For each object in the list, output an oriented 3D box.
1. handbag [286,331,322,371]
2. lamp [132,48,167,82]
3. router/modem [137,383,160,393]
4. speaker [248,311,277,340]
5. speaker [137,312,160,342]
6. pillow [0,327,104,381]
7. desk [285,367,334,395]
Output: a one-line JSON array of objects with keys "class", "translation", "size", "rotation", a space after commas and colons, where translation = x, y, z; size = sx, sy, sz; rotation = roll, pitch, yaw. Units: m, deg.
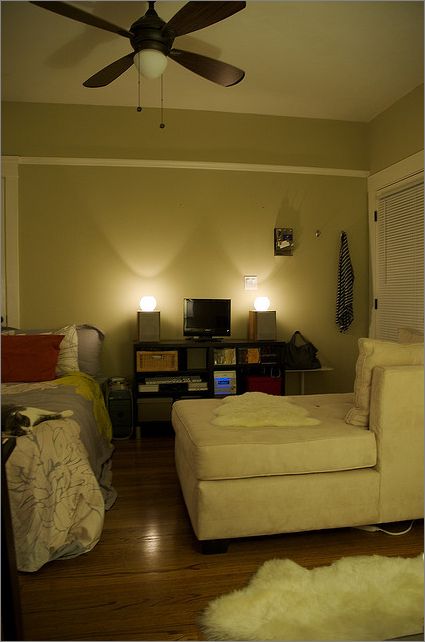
[{"class": "handbag", "translation": [0.853, 0.284, 4.613], "size": [0.352, 0.345, 0.138], "rotation": [-1, 0, -6]}, {"class": "lamp", "translation": [-0.339, -1.361, 2.598], "size": [0.129, 0.093, 0.134], "rotation": [3, 7, 34]}, {"class": "router/modem", "translation": [-0.540, 0.562, 4.033], "size": [0.166, 0.081, 0.027], "rotation": [-2, 6, -14]}, {"class": "speaker", "translation": [0.452, 0.057, 4.498], "size": [0.317, 0.335, 0.234], "rotation": [0, -3, -7]}, {"class": "speaker", "translation": [-0.547, 0.057, 4.133], "size": [0.208, 0.297, 0.230], "rotation": [0, -4, -4]}, {"class": "pillow", "translation": [-1.197, 0.245, 3.578], "size": [0.418, 0.346, 0.149], "rotation": [-2, -2, 0]}, {"class": "desk", "translation": [0.956, 0.542, 4.684], "size": [0.349, 0.340, 0.356], "rotation": [0, 4, 5]}]
